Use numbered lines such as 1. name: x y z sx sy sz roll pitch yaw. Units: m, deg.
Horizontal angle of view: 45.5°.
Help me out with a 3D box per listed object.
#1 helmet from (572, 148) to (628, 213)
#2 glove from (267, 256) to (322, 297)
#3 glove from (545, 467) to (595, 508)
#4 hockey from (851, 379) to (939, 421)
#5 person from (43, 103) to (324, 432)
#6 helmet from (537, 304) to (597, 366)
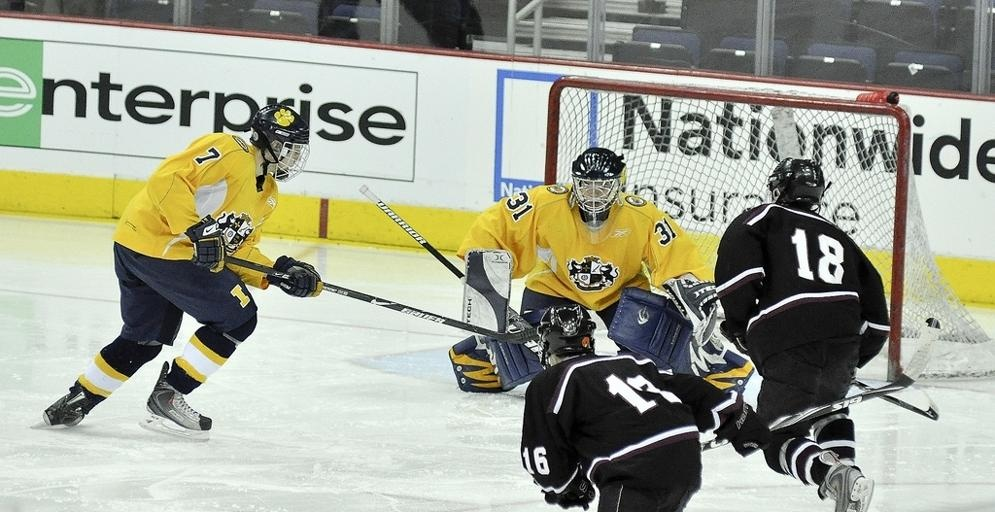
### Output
1. helmet: 0.777 -0.510 7.950 0.401 0.383 0.443 2 24 8
2. glove: -1.286 0.161 7.725 0.347 0.234 0.164 15 54 29
3. glove: 0.442 1.332 6.625 0.213 0.253 0.129 -32 -1 15
4. hockey: 2.662 0.972 7.876 0.617 0.099 0.145 27 18 28
5. person: -1.972 0.082 7.575 1.317 2.149 0.399 5 6 -17
6. helmet: 0.352 0.451 6.646 0.334 0.323 0.356 -2 17 0
